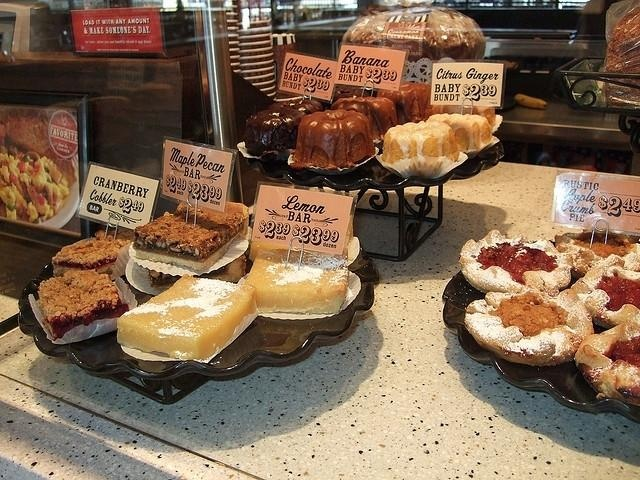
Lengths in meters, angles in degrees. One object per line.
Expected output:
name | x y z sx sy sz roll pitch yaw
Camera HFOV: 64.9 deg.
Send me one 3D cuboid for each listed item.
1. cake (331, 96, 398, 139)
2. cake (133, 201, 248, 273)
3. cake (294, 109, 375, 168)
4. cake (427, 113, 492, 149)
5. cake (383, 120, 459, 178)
cake | 0.165 -0.426 1.733 0.210 0.083 0.170 1 20 2
cake | -0.319 -0.026 1.335 0.227 0.069 0.243 11 28 20
cake | 0.041 -0.288 1.502 0.254 0.094 0.203 0 26 2
cake | 0.469 -0.350 1.631 0.172 0.067 0.145 -2 15 -4
cake | 0.290 -0.283 1.452 0.232 0.093 0.193 -1 24 6
